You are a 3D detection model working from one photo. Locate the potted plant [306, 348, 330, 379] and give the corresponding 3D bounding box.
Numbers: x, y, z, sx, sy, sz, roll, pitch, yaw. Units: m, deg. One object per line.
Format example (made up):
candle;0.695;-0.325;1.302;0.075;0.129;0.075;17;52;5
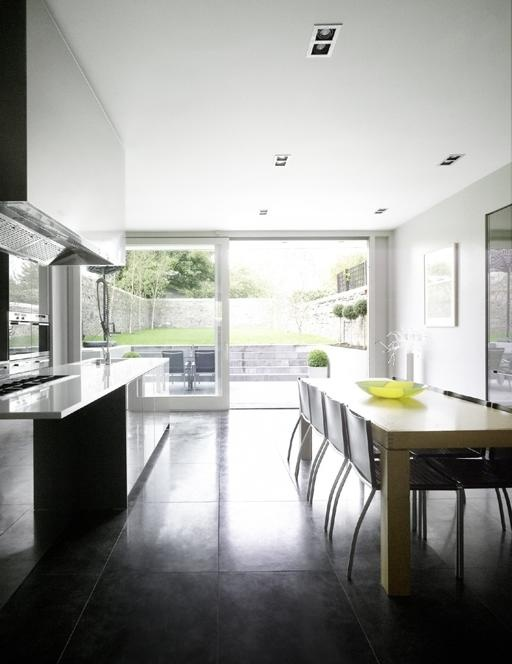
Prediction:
potted plant;1.134;0.614;8.727;0.388;0.682;0.456;1;-4;2
